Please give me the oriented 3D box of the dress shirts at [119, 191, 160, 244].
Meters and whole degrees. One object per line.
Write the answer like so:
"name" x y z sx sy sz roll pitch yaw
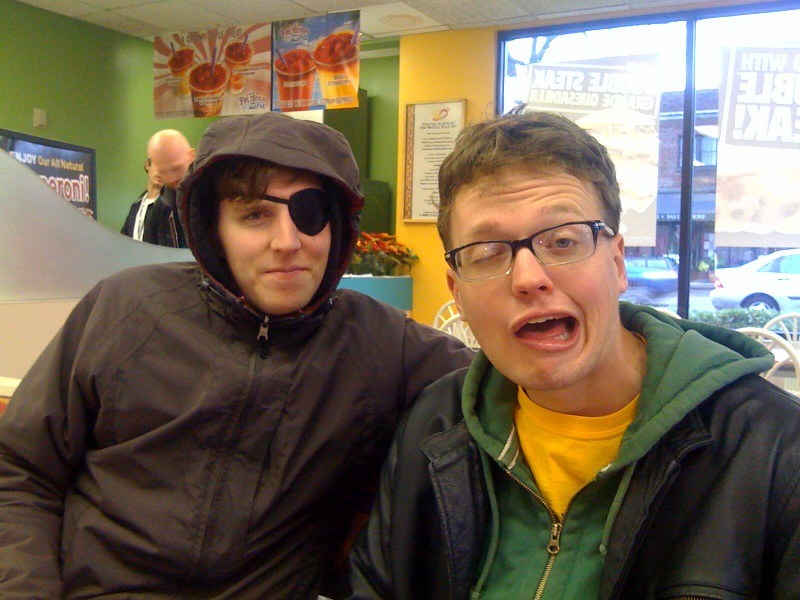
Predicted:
"dress shirts" -1.746 -0.596 4.665 0.387 0.346 0.146 14 7 17

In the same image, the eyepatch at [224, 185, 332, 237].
"eyepatch" -0.371 -0.263 1.962 0.251 0.123 0.210 5 11 33

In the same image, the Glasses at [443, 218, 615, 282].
"Glasses" 0.298 -0.116 1.559 0.388 0.136 0.150 2 9 16
